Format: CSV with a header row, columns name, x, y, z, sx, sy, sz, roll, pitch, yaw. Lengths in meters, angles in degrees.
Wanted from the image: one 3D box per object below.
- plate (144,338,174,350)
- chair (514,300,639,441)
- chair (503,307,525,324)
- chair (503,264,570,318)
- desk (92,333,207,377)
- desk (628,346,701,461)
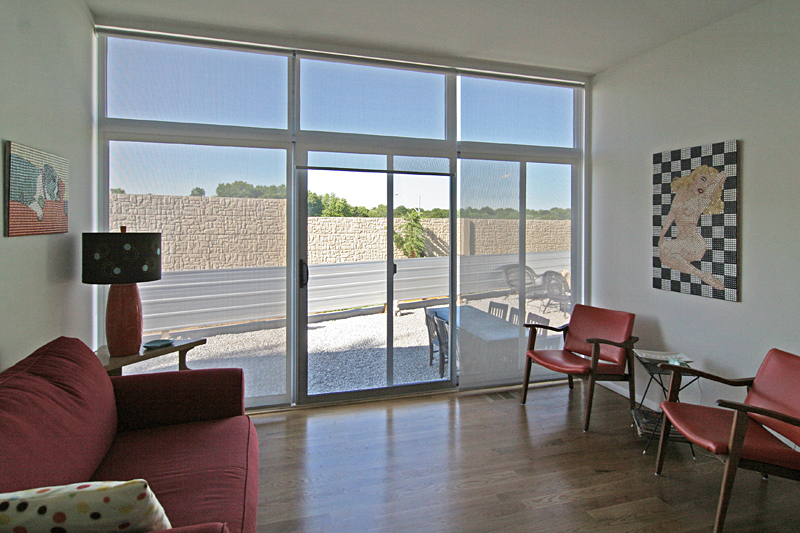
name,x,y,z,sx,sy,sz,roll,pitch,yaw
plate,-2.037,0.656,4.630,0.172,0.039,0.126,1,5,-19
chair,1.756,0.918,5.408,0.866,0.954,0.946,-3,7,-23
chair,1.251,0.538,6.047,0.169,0.155,0.163,0,2,-10
chair,1.521,0.244,6.115,0.697,0.434,0.512,0,3,16
desk,-2.157,0.740,4.739,0.714,0.415,0.378,11,6,-39
desk,2.401,1.167,5.166,0.738,1.010,1.085,0,-1,13
